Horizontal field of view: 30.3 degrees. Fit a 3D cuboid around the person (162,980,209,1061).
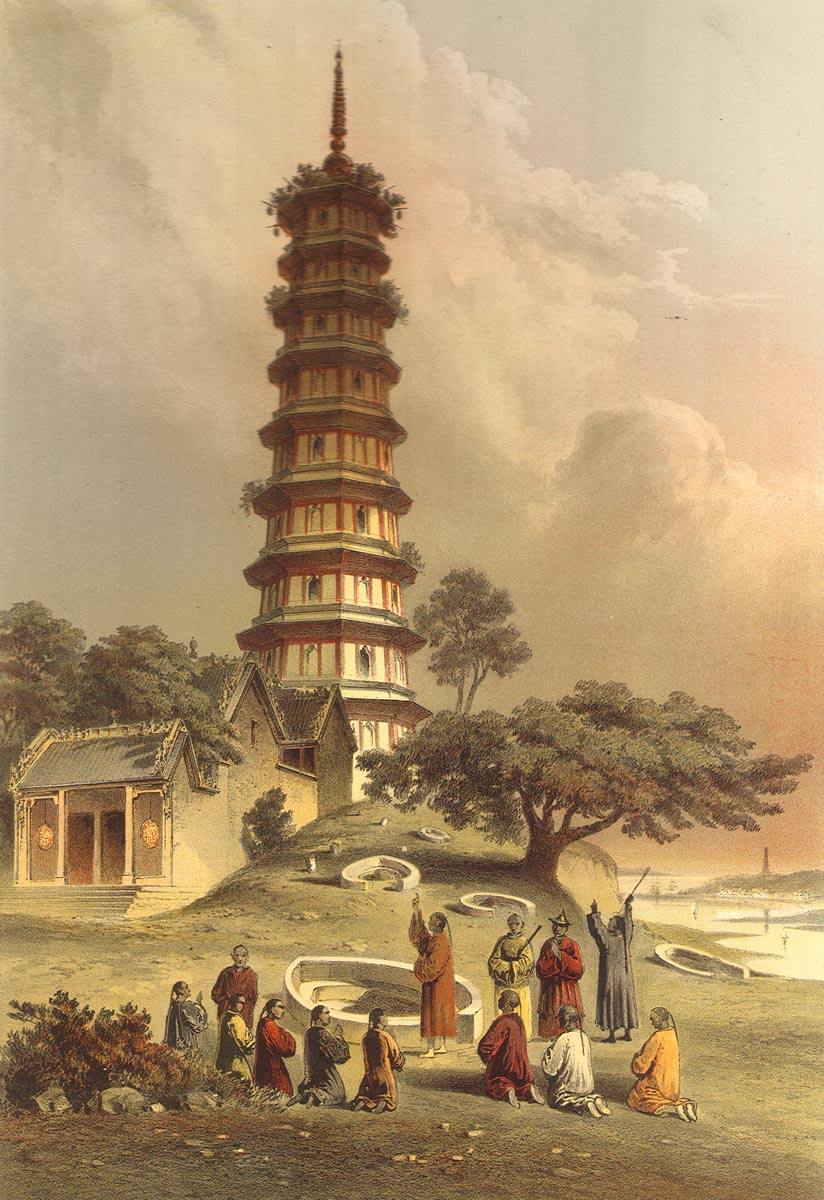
[{"bbox_3d":[-2.641,4.865,17.739,0.488,0.813,0.447,1,-10,-9],"label":"person"}]
